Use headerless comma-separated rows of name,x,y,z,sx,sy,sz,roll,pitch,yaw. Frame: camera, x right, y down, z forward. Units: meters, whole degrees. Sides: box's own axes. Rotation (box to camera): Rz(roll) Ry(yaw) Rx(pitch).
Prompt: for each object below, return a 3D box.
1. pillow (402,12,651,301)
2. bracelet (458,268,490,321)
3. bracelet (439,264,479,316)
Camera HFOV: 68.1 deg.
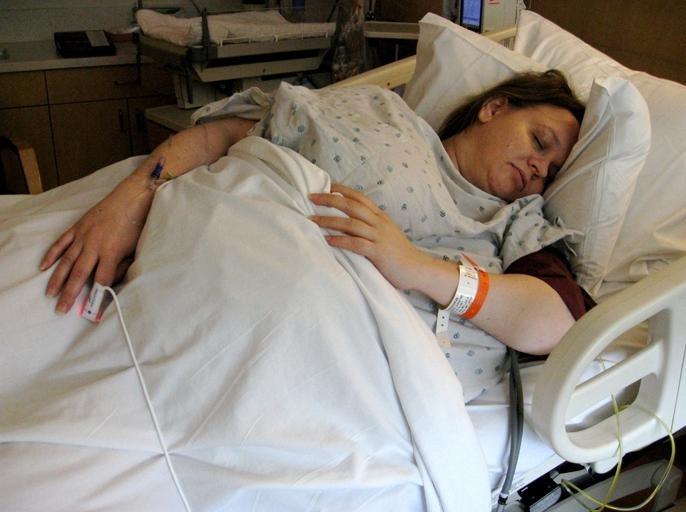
pillow,0.664,-0.426,1.946,0.898,0.855,0.333,34,12,26
bracelet,0.327,0.091,1.234,0.023,0.102,0.095,16,0,-10
bracelet,0.280,0.082,1.266,0.081,0.112,0.115,24,0,2
